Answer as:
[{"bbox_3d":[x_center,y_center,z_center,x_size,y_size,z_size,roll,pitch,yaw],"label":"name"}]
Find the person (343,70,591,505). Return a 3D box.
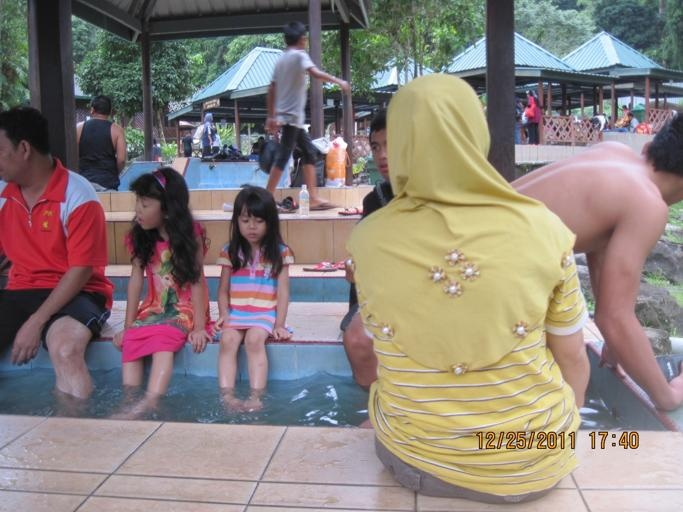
[{"bbox_3d":[0.470,0.064,2.271,0.862,1.387,0.903,8,20,39],"label":"person"}]

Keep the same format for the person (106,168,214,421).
[{"bbox_3d":[-1.094,0.126,3.605,0.592,1.285,0.845,-3,9,-14],"label":"person"}]

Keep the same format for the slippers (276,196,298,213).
[{"bbox_3d":[-0.661,-0.625,7.299,0.132,0.163,0.399,-2,8,-3],"label":"slippers"}]

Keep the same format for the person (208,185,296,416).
[{"bbox_3d":[-0.535,0.177,3.700,0.488,1.180,0.819,-2,9,-6],"label":"person"}]

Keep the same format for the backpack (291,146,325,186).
[{"bbox_3d":[-0.550,-1.403,9.449,0.550,0.851,0.454,1,-5,-6],"label":"backpack"}]
